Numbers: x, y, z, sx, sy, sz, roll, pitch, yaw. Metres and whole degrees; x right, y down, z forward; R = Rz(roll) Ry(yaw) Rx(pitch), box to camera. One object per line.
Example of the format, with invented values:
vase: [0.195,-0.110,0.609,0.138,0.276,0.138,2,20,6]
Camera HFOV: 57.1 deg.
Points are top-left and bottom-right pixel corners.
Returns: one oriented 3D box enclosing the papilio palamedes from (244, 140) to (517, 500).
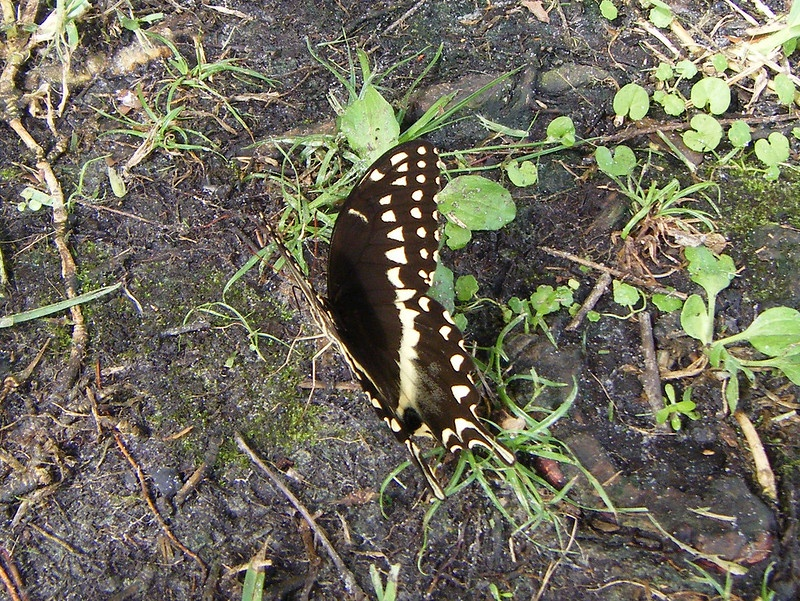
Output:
papilio palamedes: [-0.022,0.036,3.546,0.586,0.883,1.308,-8,62,-10]
